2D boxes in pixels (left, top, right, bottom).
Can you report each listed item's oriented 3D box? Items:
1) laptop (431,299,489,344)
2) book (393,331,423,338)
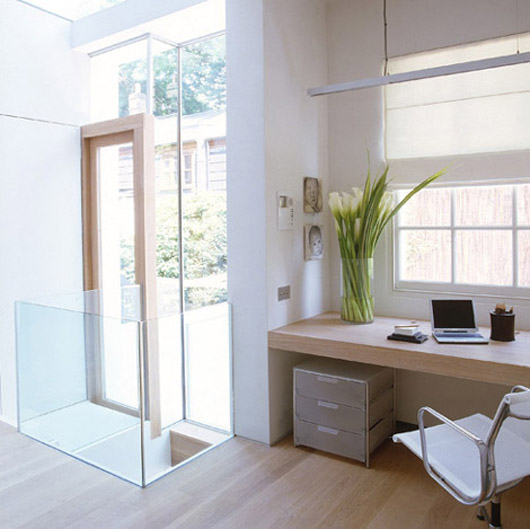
[{"bbox_3d":[1.033,0.307,2.544,0.207,0.187,0.233,-1,4,2],"label":"laptop"},{"bbox_3d":[0.766,0.375,2.521,0.075,0.021,0.075,2,5,33],"label":"book"}]
